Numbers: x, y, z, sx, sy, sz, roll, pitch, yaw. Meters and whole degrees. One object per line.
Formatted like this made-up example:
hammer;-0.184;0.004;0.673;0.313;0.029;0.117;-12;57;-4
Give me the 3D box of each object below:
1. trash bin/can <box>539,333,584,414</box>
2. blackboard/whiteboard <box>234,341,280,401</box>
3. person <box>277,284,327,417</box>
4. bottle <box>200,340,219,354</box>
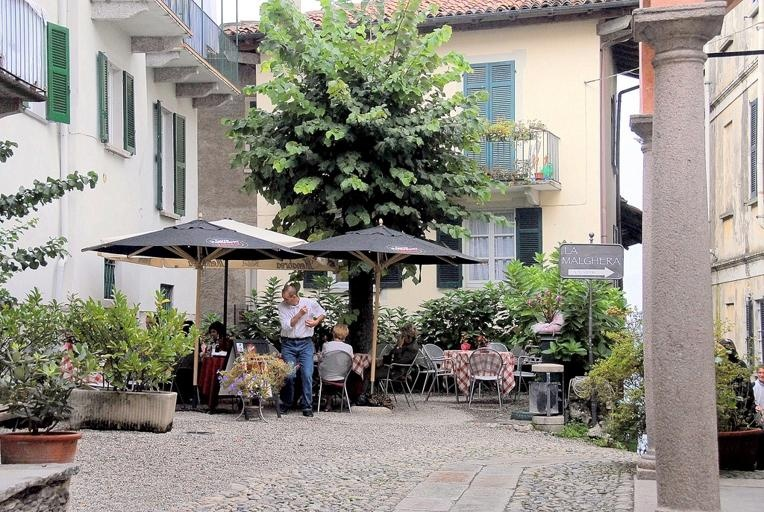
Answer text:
trash bin/can;3.168;2.051;15.934;0.793;1.337;0.933;1;-3;11
blackboard/whiteboard;-1.938;1.779;13.725;0.720;0.753;0.432;1;-22;-10
person;-1.381;1.539;14.896;0.709;2.113;1.034;2;-3;-5
bottle;-3.065;1.602;15.795;0.440;0.183;0.361;-2;-9;16
